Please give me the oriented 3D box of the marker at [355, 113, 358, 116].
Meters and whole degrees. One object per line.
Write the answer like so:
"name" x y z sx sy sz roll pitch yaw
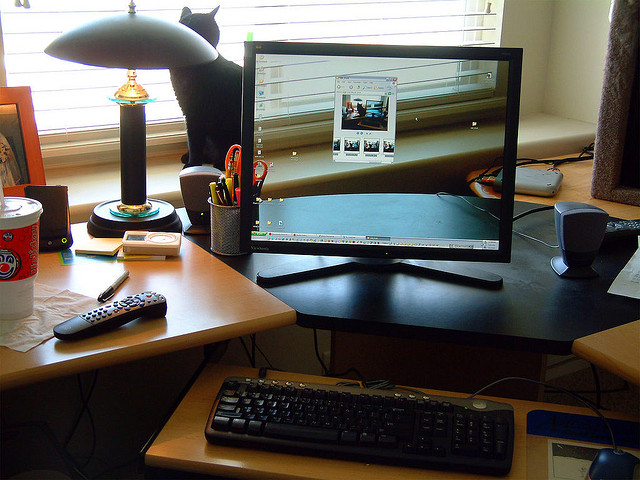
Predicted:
"marker" 0.082 -0.281 1.202 0.005 0.005 0.003 2 26 -1

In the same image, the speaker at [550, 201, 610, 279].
"speaker" 0.647 -0.006 1.361 0.138 0.170 0.150 -5 11 -7

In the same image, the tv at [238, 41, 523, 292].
"tv" 0.133 -0.173 1.221 0.572 0.477 0.185 2 15 -2

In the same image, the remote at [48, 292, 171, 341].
"remote" -0.408 0.145 1.095 0.245 0.050 0.081 -20 34 -34

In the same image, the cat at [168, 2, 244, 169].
"cat" -0.342 -0.451 1.797 0.229 0.605 0.267 -14 33 -30
